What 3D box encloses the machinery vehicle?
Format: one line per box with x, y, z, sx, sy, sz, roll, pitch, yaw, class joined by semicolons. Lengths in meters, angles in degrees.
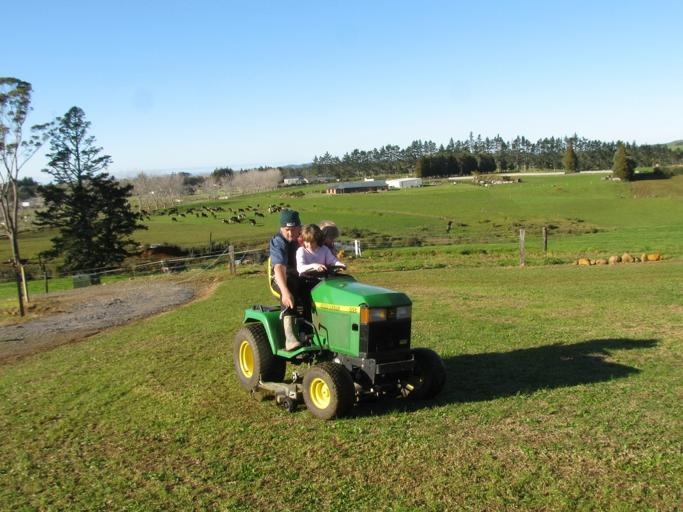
-0.264;1.598;10.462;3.016;2.304;4.103;-3;1;-34;machinery vehicle

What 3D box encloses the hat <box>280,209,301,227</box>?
-1.027;-0.738;9.804;0.406;0.278;0.408;-2;2;-25;hat
